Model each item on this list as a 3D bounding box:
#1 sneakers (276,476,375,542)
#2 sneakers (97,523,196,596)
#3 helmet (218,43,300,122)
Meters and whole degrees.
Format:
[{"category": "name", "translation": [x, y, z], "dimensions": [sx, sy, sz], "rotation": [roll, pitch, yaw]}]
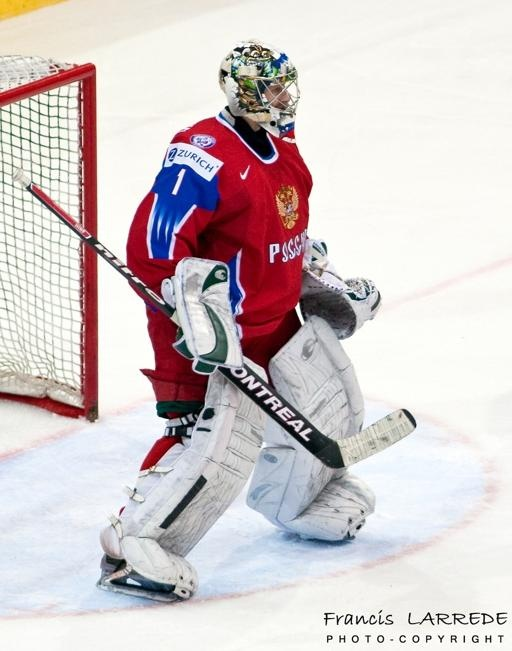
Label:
[{"category": "sneakers", "translation": [0.184, 0.475, 1.907], "dimensions": [0.198, 0.084, 0.268], "rotation": [4, 12, 39]}, {"category": "sneakers", "translation": [-0.230, 0.484, 1.530], "dimensions": [0.220, 0.064, 0.141], "rotation": [15, 34, 0]}, {"category": "helmet", "translation": [0.028, -0.525, 1.632], "dimensions": [0.196, 0.154, 0.173], "rotation": [-2, 28, -10]}]
